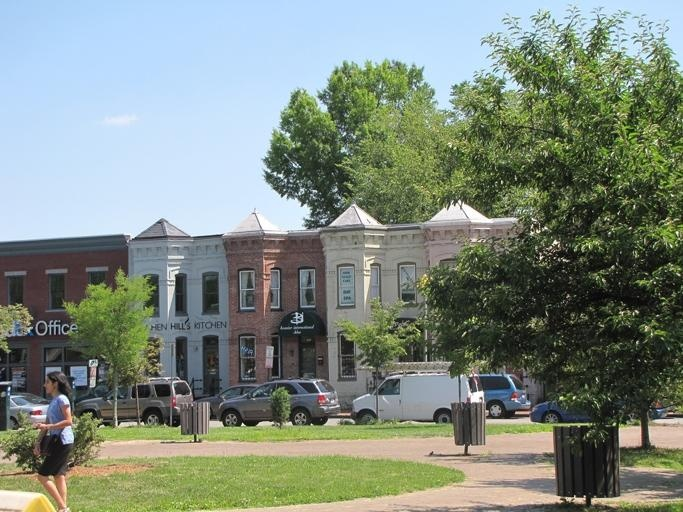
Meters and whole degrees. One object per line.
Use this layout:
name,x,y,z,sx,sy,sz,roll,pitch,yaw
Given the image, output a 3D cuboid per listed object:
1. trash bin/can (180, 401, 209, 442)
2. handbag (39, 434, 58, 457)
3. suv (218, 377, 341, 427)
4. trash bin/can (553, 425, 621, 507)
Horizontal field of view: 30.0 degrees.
trash bin/can,-4.211,4.755,36.796,1.015,1.566,1.057,1,-7,-9
handbag,-5.798,3.710,25.297,0.127,0.406,0.384,26,-17,-30
suv,-2.018,4.870,43.561,3.746,1.628,4.493,-9,-12,35
trash bin/can,4.971,4.223,25.891,1.294,1.681,0.970,-1,-2,10
